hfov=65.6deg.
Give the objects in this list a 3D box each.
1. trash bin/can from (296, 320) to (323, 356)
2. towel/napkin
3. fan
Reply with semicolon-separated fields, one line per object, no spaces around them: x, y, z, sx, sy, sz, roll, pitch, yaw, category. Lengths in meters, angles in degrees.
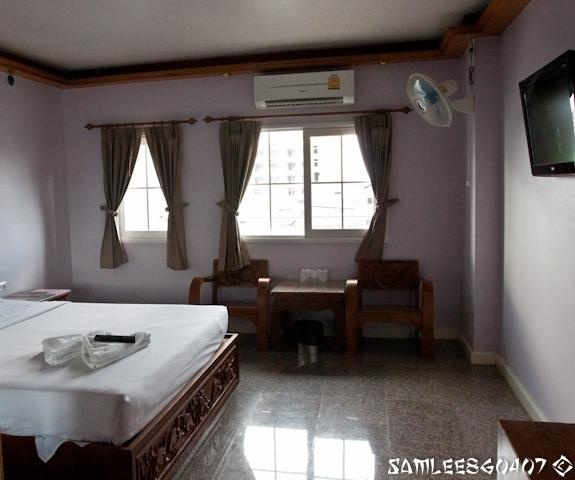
0.213;0.943;4.389;0.228;0.250;0.255;-1;-8;20;trash bin/can
-1.178;0.639;2.686;0.275;0.105;0.306;1;6;15;towel/napkin
1.115;-1.134;3.429;0.463;0.350;0.370;46;-10;-34;fan
